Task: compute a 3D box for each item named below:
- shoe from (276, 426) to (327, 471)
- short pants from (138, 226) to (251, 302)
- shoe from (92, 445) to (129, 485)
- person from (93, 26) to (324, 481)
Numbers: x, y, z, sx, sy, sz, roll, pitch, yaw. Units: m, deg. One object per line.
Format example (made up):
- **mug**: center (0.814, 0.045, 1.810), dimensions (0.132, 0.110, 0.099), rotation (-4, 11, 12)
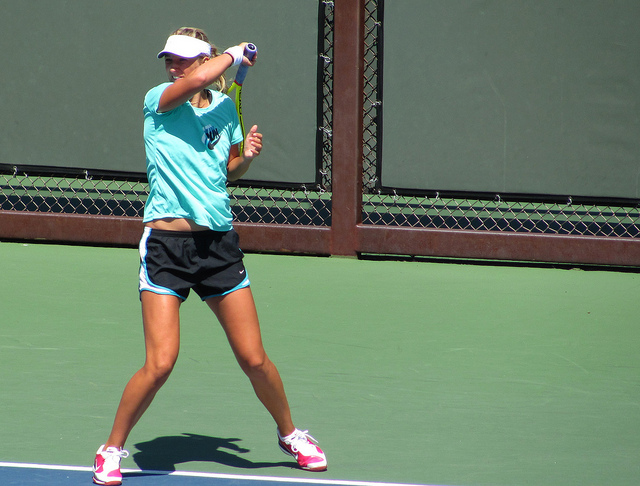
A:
- **shoe**: center (-0.077, 1.022, 4.616), dimensions (0.304, 0.123, 0.129), rotation (32, 48, 28)
- **short pants**: center (-0.611, 0.085, 4.532), dimensions (0.532, 0.355, 0.253), rotation (-4, 9, -13)
- **shoe**: center (-1.004, 1.051, 4.385), dimensions (0.151, 0.178, 0.086), rotation (4, -10, -12)
- **person**: center (-0.542, 0.066, 4.438), dimensions (0.927, 2.108, 0.470), rotation (4, -10, -14)
